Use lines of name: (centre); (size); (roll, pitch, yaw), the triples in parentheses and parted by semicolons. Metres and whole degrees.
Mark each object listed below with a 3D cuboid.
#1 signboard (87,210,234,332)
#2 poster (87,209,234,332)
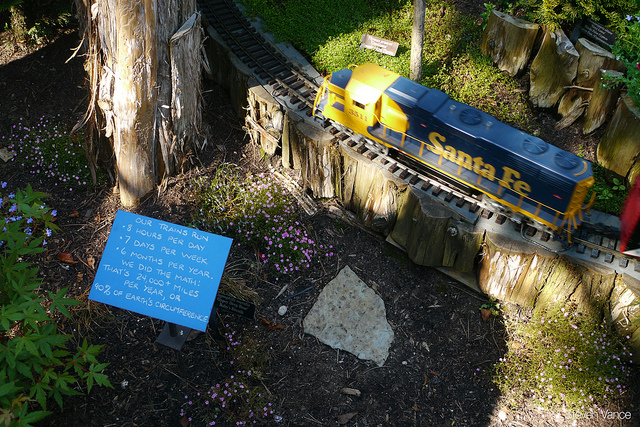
signboard: (-3.205, 1.110, 9.490); (2.696, 0.146, 2.542); (16, 87, -2)
poster: (-3.424, 1.343, 10.021); (2.300, 0.178, 1.941); (18, 56, 0)
